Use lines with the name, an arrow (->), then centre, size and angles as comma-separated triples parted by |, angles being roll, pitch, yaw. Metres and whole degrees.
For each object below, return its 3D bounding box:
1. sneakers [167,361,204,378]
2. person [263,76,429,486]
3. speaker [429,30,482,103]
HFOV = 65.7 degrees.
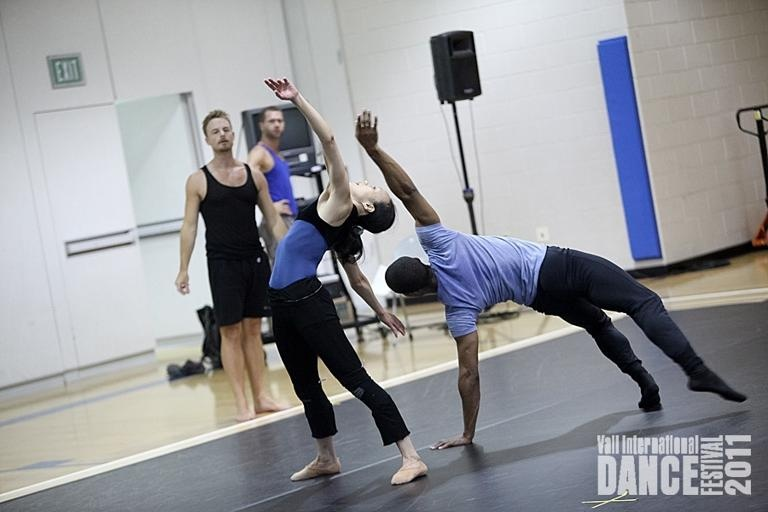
sneakers -> -2.005, 1.155, 6.032 | 0.279, 0.096, 0.197 | -8, -10, -9
person -> -0.261, 0.124, 3.016 | 0.756, 2.044, 0.476 | -7, 10, 25
speaker -> 0.710, -1.815, 5.673 | 0.477, 0.633, 0.180 | -15, 10, -23
